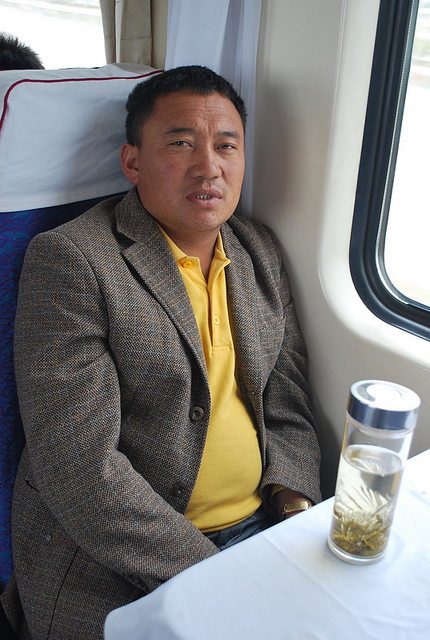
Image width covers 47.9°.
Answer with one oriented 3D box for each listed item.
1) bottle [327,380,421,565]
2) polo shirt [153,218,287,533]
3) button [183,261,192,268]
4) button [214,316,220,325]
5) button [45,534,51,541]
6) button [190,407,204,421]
[{"bbox_3d":[0.156,0.161,0.530,0.075,0.226,0.072,4,20,-1],"label":"bottle"},{"bbox_3d":[-0.040,0.139,1.209,0.446,0.602,0.169,-1,-4,-29],"label":"polo shirt"},{"bbox_3d":[-0.065,-0.129,1.122,0.014,0.015,0.003,-1,21,-11],"label":"button"},{"bbox_3d":[0.003,0.000,1.111,0.004,0.016,0.016,-3,-3,36],"label":"button"},{"bbox_3d":[-0.340,0.436,0.976,0.011,0.011,0.002,-8,-11,21],"label":"button"},{"bbox_3d":[-0.039,0.196,1.015,0.029,0.023,0.017,2,25,-5],"label":"button"}]
